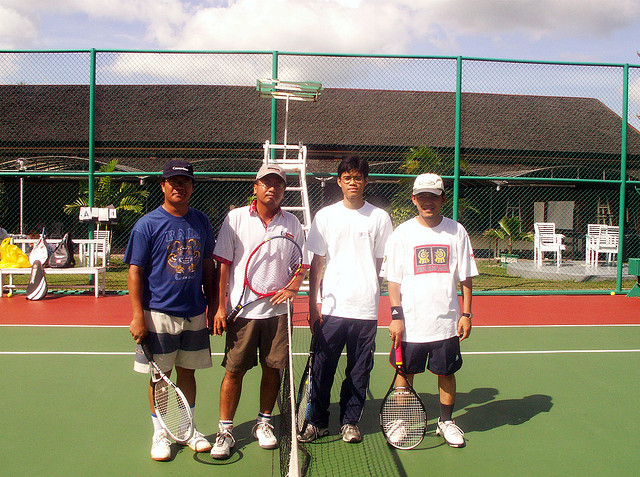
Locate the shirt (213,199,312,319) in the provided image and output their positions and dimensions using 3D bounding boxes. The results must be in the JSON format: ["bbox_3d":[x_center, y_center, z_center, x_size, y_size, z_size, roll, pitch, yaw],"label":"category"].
[{"bbox_3d":[-0.598,0.164,7.793,1.116,1.412,0.460,3,26,2],"label":"shirt"}]

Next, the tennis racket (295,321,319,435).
[{"bbox_3d":[-0.139,1.531,7.647,0.222,1.235,0.452,1,-3,1],"label":"tennis racket"}]

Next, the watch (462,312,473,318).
[{"bbox_3d":[1.662,0.862,7.853,0.099,0.043,0.100,12,-4,-4],"label":"watch"}]

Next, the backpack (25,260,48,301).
[{"bbox_3d":[-5.194,0.695,12.733,0.430,0.872,0.304,-1,-39,-20],"label":"backpack"}]

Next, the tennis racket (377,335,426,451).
[{"bbox_3d":[0.916,1.695,7.624,0.483,1.236,0.462,1,-3,8],"label":"tennis racket"}]

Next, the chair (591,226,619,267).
[{"bbox_3d":[7.598,0.191,18.537,0.627,1.194,1.861,0,-4,21],"label":"chair"}]

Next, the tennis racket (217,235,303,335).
[{"bbox_3d":[-0.685,0.474,7.589,1.414,0.553,0.077,-45,5,-3],"label":"tennis racket"}]

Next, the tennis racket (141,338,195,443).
[{"bbox_3d":[-1.527,1.650,7.223,0.076,1.113,0.309,21,41,40],"label":"tennis racket"}]

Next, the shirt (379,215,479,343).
[{"bbox_3d":[1.276,0.421,7.911,1.115,1.377,0.472,-3,12,10],"label":"shirt"}]

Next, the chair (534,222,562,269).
[{"bbox_3d":[6.193,0.164,18.923,0.693,1.283,1.811,0,-4,17],"label":"chair"}]
